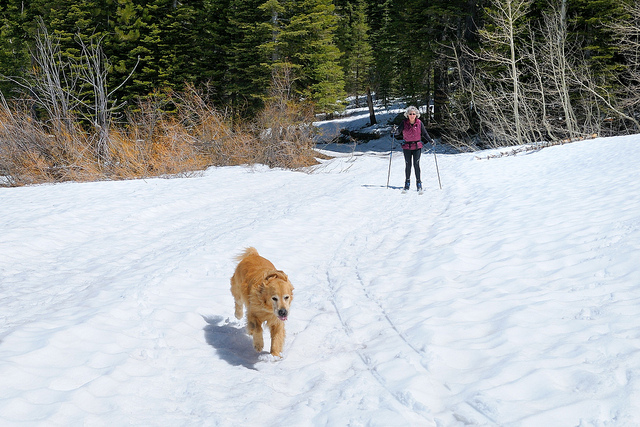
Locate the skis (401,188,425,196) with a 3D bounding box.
[{"bbox_3d":[2.953,-0.683,15.568,0.441,0.140,0.237,-5,-28,13],"label":"skis"}]

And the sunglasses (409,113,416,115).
[{"bbox_3d":[2.747,-2.991,14.611,0.156,0.058,0.037,-13,17,-19],"label":"sunglasses"}]

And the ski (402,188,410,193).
[{"bbox_3d":[2.763,-0.728,15.742,0.171,0.055,0.158,-3,17,-11],"label":"ski"}]
